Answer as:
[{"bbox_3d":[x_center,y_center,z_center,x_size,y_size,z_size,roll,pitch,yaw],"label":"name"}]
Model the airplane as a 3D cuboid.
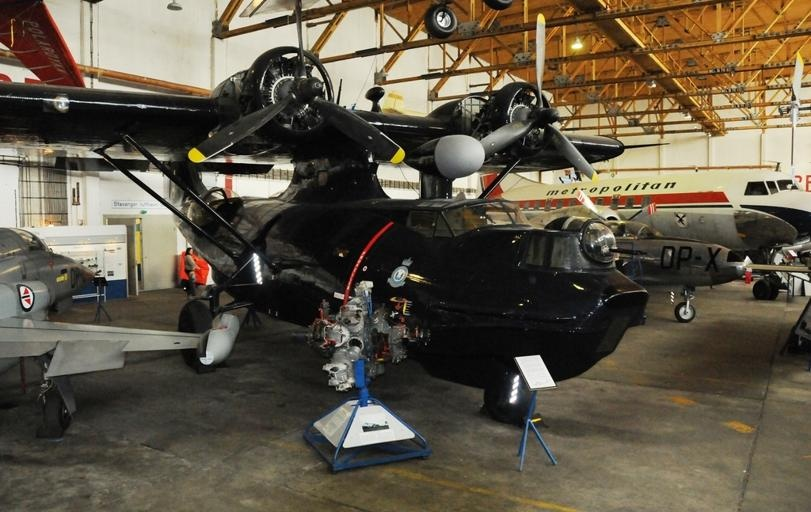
[{"bbox_3d":[-2.335,-0.602,12.393,11.075,4.568,10.544,5,7,42],"label":"airplane"}]
